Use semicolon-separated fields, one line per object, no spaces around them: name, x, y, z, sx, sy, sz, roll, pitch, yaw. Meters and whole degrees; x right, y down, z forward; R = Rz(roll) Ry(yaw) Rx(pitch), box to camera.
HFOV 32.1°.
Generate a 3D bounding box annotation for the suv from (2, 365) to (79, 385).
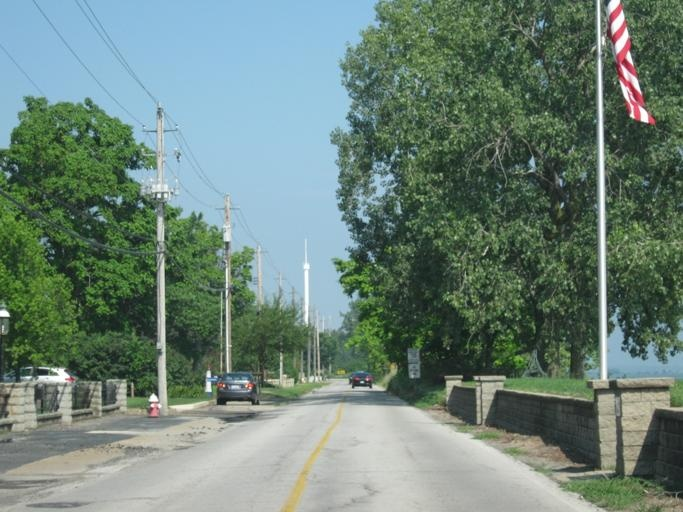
suv;-16.910;6.555;66.036;2.155;0.987;1.152;3;-8;-1
